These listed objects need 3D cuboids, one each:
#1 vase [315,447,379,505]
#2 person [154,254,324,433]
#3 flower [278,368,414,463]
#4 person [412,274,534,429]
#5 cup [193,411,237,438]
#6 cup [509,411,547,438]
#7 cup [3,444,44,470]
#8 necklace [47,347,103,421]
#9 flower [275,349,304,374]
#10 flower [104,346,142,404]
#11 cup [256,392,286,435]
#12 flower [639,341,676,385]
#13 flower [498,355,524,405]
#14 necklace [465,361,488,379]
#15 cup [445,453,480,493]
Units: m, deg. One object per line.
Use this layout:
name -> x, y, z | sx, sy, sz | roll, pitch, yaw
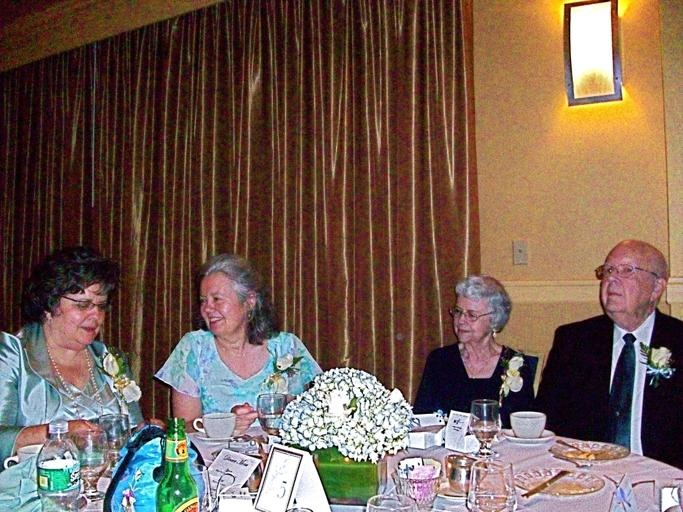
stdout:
vase -> 0.018, 0.726, 2.065 | 0.165, 0.128, 0.186 | 0, -8, 2
person -> -0.549, 0.504, 3.513 | 0.869, 1.002, 0.441 | -3, 8, -18
flower -> 0.024, 0.459, 2.103 | 0.294, 0.229, 0.305 | 11, 13, 39
person -> 0.731, 0.505, 3.482 | 0.581, 0.795, 0.389 | -1, -23, 36
cup -> -0.510, 0.709, 2.766 | 0.135, 0.093, 0.116 | 1, 6, 14
cup -> 0.777, 0.699, 2.728 | 0.102, 0.094, 0.117 | -1, -13, 0
cup -> -1.118, 0.697, 2.294 | 0.129, 0.104, 0.086 | -5, 8, -28
necklace -> -1.244, 0.593, 3.034 | 0.243, 0.306, 0.227 | 2, -4, -26
flower -> -0.269, 0.543, 3.193 | 0.106, 0.057, 0.122 | -1, 16, -2
flower -> -1.017, 0.552, 2.992 | 0.157, 0.244, 0.220 | 1, -4, -21
cup -> -0.281, 0.649, 2.708 | 0.122, 0.171, 0.138 | 1, -9, -3
flower -> 1.538, 0.532, 3.157 | 0.154, 0.209, 0.225 | -1, -4, 26
flower -> 0.842, 0.620, 3.218 | 0.116, 0.267, 0.263 | -1, -3, 14
necklace -> 0.717, 0.606, 3.413 | 0.132, 0.065, 0.078 | -1, -4, 14
cup -> 0.438, 0.793, 2.335 | 0.073, 0.110, 0.129 | 1, -10, -1
